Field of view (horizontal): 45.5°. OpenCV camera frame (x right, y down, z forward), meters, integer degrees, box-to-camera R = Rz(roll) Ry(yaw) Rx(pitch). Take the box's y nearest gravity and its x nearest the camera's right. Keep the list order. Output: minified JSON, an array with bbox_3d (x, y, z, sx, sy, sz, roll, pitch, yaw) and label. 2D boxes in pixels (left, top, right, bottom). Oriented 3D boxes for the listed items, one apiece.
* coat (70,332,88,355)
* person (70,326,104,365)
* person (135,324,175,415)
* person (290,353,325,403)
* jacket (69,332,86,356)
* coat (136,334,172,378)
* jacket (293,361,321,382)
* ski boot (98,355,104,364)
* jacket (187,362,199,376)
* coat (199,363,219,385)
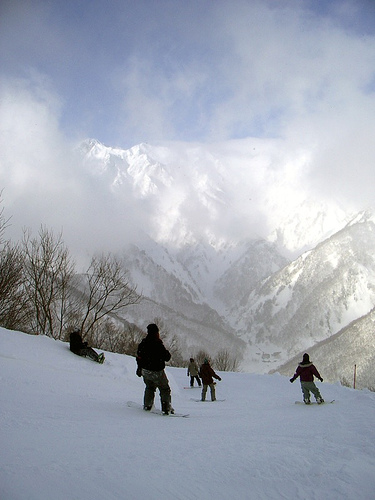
[{"bbox_3d":[-4.008,3.355,16.102,0.487,0.750,0.717,8,3,22],"label":"coat"},{"bbox_3d":[-3.623,3.479,16.334,1.364,0.813,0.602,27,-7,-19],"label":"person"},{"bbox_3d":[-0.662,2.426,9.130,0.773,1.746,0.977,4,-16,-4],"label":"person"},{"bbox_3d":[3.407,3.606,12.635,0.461,1.344,0.907,12,-18,-29],"label":"person"},{"bbox_3d":[-4.109,3.342,16.368,0.518,0.814,0.769,-4,7,11],"label":"jacket"},{"bbox_3d":[-0.708,2.139,9.042,0.585,0.786,0.544,-2,-5,-10],"label":"coat"},{"bbox_3d":[3.414,3.470,12.791,0.698,0.577,0.870,0,-16,13],"label":"jacket"},{"bbox_3d":[-3.141,3.925,16.118,0.166,0.275,0.287,-7,-19,32],"label":"ski boot"},{"bbox_3d":[0.270,5.278,19.835,0.428,0.582,0.962,3,-16,1],"label":"jacket"},{"bbox_3d":[0.773,4.305,15.527,0.567,0.721,0.598,5,-16,-7],"label":"coat"}]
